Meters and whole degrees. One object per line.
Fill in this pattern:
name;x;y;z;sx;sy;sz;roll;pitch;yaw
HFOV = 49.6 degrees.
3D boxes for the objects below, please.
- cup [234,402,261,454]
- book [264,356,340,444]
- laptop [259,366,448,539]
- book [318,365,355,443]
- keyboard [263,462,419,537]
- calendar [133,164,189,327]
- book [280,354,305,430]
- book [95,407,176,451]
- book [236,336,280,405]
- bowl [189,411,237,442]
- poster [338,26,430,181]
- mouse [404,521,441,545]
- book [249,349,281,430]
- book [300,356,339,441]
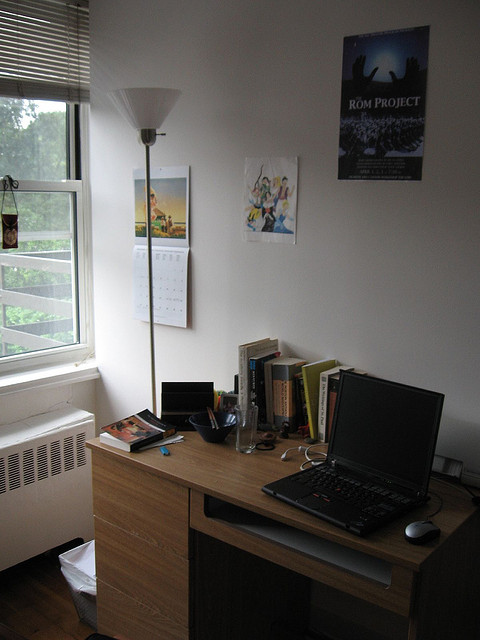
cup;0.021;0.335;1.572;0.109;0.176;0.113;0;-2;0
book;0.200;0.195;1.687;0.212;0.285;0.293;5;8;24
laptop;0.257;0.286;1.219;0.340;0.257;0.382;-3;4;-19
book;0.270;0.243;1.460;0.073;0.213;0.226;3;5;26
keyboard;0.229;0.402;1.200;0.229;0.032;0.285;-3;8;-41
calendar;-0.314;-0.320;2.112;0.307;0.660;0.021;6;9;30
book;0.169;0.245;1.687;0.072;0.206;0.210;0;3;13
book;-0.321;0.350;1.645;0.181;0.054;0.214;6;8;39
book;0.063;0.176;1.737;0.076;0.206;0.212;2;6;32
bowl;-0.088;0.334;1.623;0.139;0.079;0.143;2;6;0
poster;0.405;-0.606;1.485;0.270;0.423;0.043;7;7;41
mouse;0.364;0.420;1.026;0.084;0.032;0.051;0;6;-12
book;0.078;0.234;1.700;0.036;0.320;0.244;1;3;20
book;0.281;0.251;1.664;0.119;0.212;0.220;6;7;39
